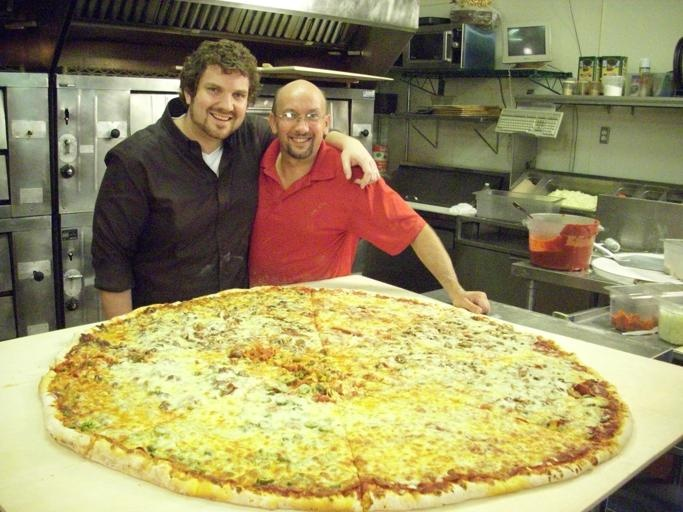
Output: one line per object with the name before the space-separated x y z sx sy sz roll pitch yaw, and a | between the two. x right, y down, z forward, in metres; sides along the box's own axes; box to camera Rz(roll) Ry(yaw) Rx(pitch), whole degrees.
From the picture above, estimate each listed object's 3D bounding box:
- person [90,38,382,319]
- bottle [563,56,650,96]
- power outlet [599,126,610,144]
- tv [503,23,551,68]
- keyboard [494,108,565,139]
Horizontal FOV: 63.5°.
person | -0.220 -0.327 2.687 1.946 1.056 0.390 11 31 13
bottle | 1.988 -1.336 4.141 0.581 0.142 0.394 2 19 13
power outlet | 2.221 -1.013 4.628 0.008 0.154 0.087 -9 17 -43
tv | 1.550 -1.768 4.578 0.391 0.274 0.198 7 19 34
keyboard | 1.538 -1.094 4.505 0.127 0.220 0.543 -7 14 -39
